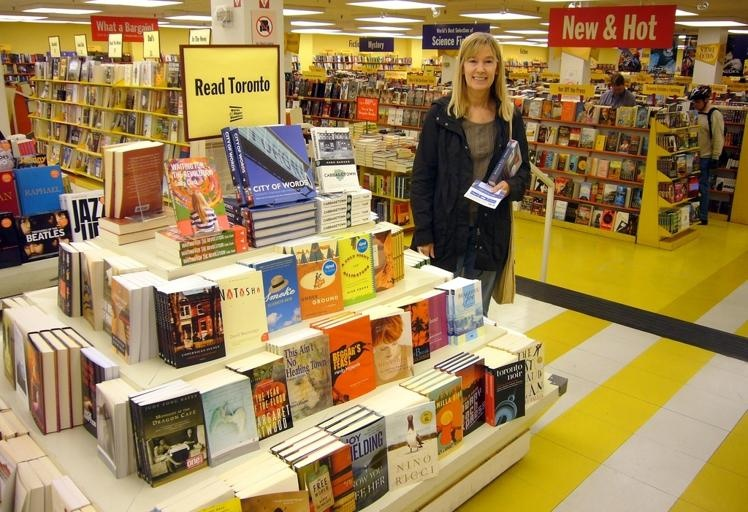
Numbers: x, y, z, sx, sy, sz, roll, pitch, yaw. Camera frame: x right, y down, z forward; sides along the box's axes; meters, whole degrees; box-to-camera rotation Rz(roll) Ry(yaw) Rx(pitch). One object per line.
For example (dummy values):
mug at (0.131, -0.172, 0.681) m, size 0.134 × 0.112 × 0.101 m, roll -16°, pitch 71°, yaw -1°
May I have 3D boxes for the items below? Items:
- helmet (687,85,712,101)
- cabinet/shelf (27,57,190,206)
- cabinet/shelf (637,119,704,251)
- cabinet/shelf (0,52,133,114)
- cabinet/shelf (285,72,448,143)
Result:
helmet at (5.626, -2.800, 8.772) m, size 0.260 × 0.236 × 0.467 m, roll 9°, pitch 23°, yaw 27°
cabinet/shelf at (-3.835, -1.935, 7.395) m, size 3.588 × 1.535 × 1.101 m, roll 13°, pitch 16°, yaw 43°
cabinet/shelf at (4.631, -1.130, 8.036) m, size 0.658 × 1.900 × 1.716 m, roll 3°, pitch 18°, yaw 33°
cabinet/shelf at (-6.763, -3.805, 11.274) m, size 0.475 × 0.949 × 4.273 m, roll 5°, pitch 15°, yaw 27°
cabinet/shelf at (-0.182, -2.549, 8.682) m, size 3.123 × 1.110 × 0.453 m, roll 22°, pitch 8°, yaw 40°
